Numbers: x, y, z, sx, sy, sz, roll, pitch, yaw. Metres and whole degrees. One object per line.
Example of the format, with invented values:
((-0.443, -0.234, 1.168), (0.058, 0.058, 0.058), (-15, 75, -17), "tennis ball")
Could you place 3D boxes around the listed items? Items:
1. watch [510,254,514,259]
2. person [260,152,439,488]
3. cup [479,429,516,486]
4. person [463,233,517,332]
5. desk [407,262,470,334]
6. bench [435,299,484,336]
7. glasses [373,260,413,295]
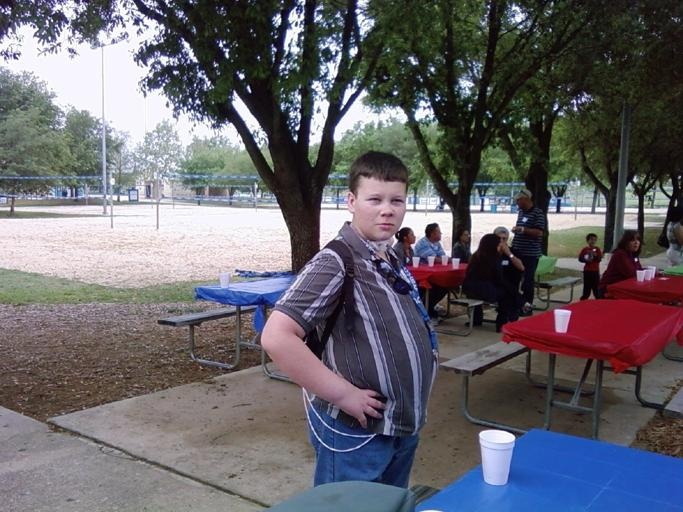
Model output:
((2.914, 0.023, 9.787), (0.041, 0.062, 0.062), (-51, 17, -18), "watch")
((0.055, 0.325, 2.476), (0.794, 1.553, 0.446), (-1, 7, -9), "person")
((0.713, 0.922, 2.627), (0.149, 0.221, 0.222), (2, 6, 14), "cup")
((2.500, 0.407, 9.275), (0.823, 1.562, 1.171), (4, 7, 30), "person")
((1.546, 0.828, 9.114), (0.974, 0.669, 1.419), (1, 3, 34), "desk")
((1.915, 0.997, 9.057), (0.587, 0.516, 0.849), (2, 3, 41), "bench")
((0.225, 0.089, 2.527), (0.180, 0.068, 0.127), (38, 7, -5), "glasses")
